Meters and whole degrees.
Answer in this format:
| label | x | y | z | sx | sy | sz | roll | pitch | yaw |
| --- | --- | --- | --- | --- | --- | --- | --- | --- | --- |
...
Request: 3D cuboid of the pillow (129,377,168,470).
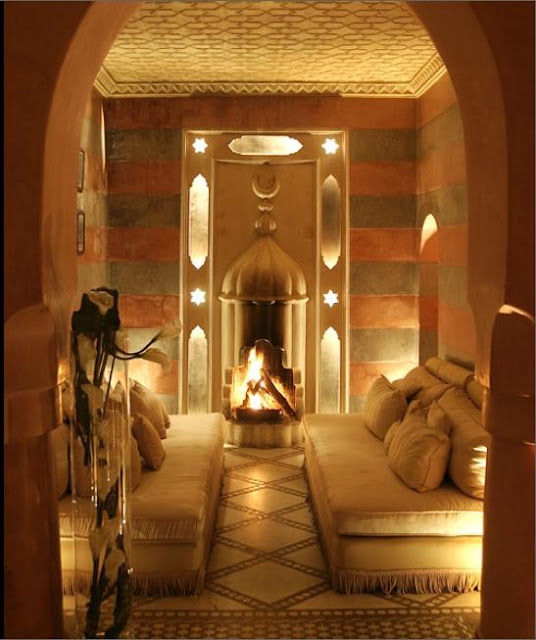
| label | x | y | z | sx | sy | sz | roll | pitch | yaw |
| --- | --- | --- | --- | --- | --- | --- | --- | --- | --- |
| pillow | -0.835 | 0.752 | 4.052 | 0.114 | 0.503 | 0.459 | -10 | 28 | 5 |
